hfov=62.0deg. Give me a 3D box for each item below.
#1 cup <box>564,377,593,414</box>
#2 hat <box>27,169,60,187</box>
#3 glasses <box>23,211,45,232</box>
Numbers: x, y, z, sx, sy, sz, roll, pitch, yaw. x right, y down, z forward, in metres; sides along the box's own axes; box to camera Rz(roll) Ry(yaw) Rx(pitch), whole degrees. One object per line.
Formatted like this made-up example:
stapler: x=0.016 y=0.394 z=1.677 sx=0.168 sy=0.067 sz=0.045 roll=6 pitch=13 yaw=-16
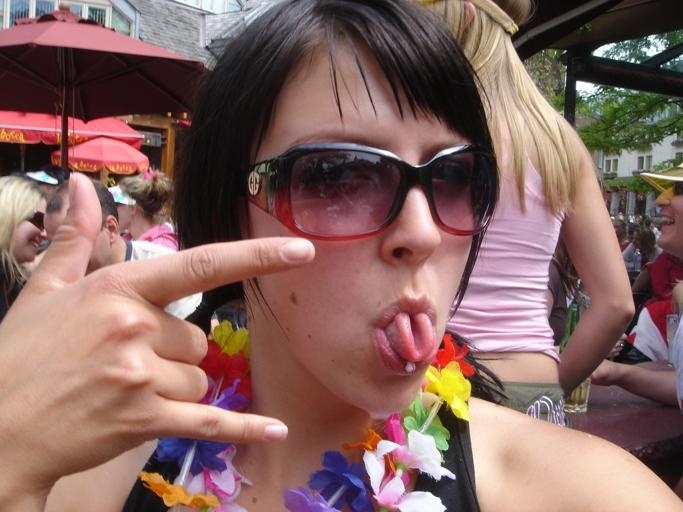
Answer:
cup: x=1.103 y=0.622 z=2.714 sx=0.122 sy=0.171 sz=0.134 roll=6 pitch=-2 yaw=-6
hat: x=-2.543 y=-0.714 z=4.852 sx=0.183 sy=0.067 sz=0.197 roll=24 pitch=-5 yaw=13
glasses: x=-2.172 y=-0.260 z=4.015 sx=0.108 sy=0.081 sz=0.177 roll=-2 pitch=-8 yaw=-45
